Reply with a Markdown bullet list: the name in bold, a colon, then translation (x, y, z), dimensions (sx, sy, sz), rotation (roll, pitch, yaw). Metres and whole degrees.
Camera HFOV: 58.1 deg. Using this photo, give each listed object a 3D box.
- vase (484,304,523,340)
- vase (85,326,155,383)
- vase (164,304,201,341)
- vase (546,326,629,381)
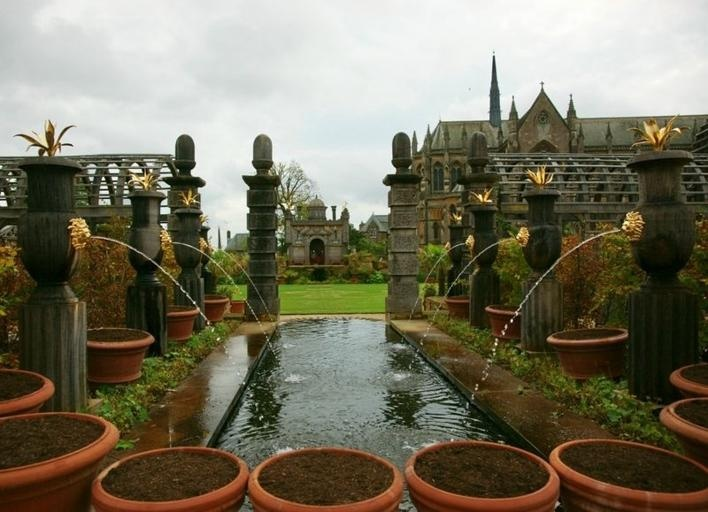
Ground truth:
- **vase**: translation (2.421, 1.076, 10.231), dimensions (0.523, 0.272, 0.509), rotation (0, -1, -8)
- **vase**: translation (-2.889, 1.211, 7.851), dimensions (0.711, 0.406, 0.695), rotation (3, -9, -1)
- **vase**: translation (-2.778, 1.070, 10.125), dimensions (0.540, 0.350, 0.549), rotation (-1, -1, 45)
- **vase**: translation (2.881, 1.182, 7.922), dimensions (0.763, 0.443, 0.747), rotation (-5, -6, 3)
